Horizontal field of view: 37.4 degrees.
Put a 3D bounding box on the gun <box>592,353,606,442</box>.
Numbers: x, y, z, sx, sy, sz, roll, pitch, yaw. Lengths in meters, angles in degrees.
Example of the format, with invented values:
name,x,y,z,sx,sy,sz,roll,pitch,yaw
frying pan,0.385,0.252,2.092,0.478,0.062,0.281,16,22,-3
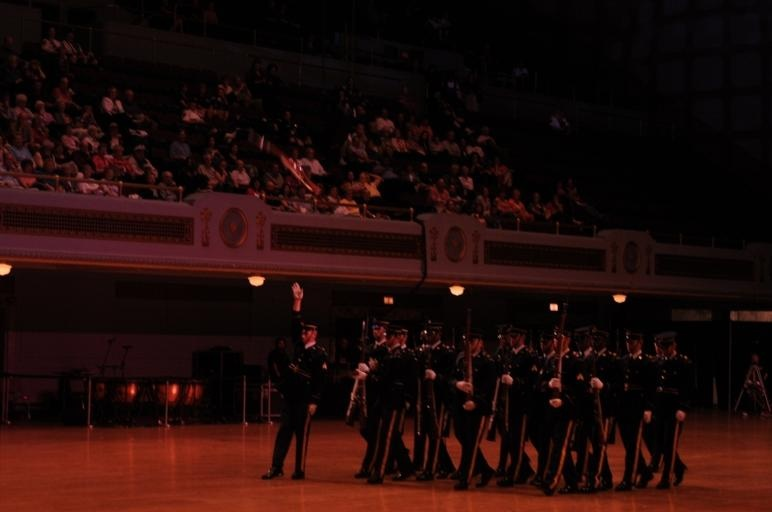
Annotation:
name,x,y,z,sx,sy,sz,roll,pitch,yaw
gun,4.169,2.881,22.556,0.395,1.672,0.069,5,-12,-37

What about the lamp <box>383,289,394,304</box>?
name,x,y,z,sx,sy,sz,roll,pitch,yaw
lamp,0.029,1.229,34.835,0.421,0.397,0.211,5,-10,-32

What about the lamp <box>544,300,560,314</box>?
name,x,y,z,sx,sy,sz,roll,pitch,yaw
lamp,5.318,1.637,36.368,0.318,0.323,0.321,0,0,5

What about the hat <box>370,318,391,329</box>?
name,x,y,z,sx,sy,sz,roll,pitch,yaw
hat,-0.080,1.343,23.063,0.328,0.140,0.264,1,-7,-9

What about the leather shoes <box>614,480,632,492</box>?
name,x,y,z,sx,sy,sz,roll,pitch,yaw
leather shoes,4.690,4.577,22.597,0.410,0.160,0.142,1,-11,5

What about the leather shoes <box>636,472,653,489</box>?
name,x,y,z,sx,sy,sz,roll,pitch,yaw
leather shoes,5.152,4.522,22.863,0.212,0.178,0.510,7,-28,8

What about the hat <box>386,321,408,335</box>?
name,x,y,z,sx,sy,sz,roll,pitch,yaw
hat,0.298,1.503,23.255,0.447,0.247,0.626,-2,-4,42

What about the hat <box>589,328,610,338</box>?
name,x,y,z,sx,sy,sz,roll,pitch,yaw
hat,4.223,1.555,22.932,0.279,0.205,0.285,0,-1,-24

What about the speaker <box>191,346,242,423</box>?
name,x,y,z,sx,sy,sz,roll,pitch,yaw
speaker,-4.541,3.523,31.127,1.259,1.711,1.116,0,11,-3

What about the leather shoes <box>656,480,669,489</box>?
name,x,y,z,sx,sy,sz,roll,pitch,yaw
leather shoes,5.528,4.607,22.843,0.286,0.121,0.109,0,-11,22

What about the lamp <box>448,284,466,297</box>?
name,x,y,z,sx,sy,sz,roll,pitch,yaw
lamp,1.906,0.944,31.812,0.385,0.252,0.378,4,-11,-28

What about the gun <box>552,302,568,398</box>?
name,x,y,z,sx,sy,sz,roll,pitch,yaw
gun,3.606,1.994,23.820,0.246,1.847,0.254,5,8,-3

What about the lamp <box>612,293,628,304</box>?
name,x,y,z,sx,sy,sz,roll,pitch,yaw
lamp,7.086,1.294,34.916,0.327,0.179,0.338,-8,-10,29

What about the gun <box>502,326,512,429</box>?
name,x,y,z,sx,sy,sz,roll,pitch,yaw
gun,2.372,2.483,22.908,0.083,1.748,0.249,1,-2,37
